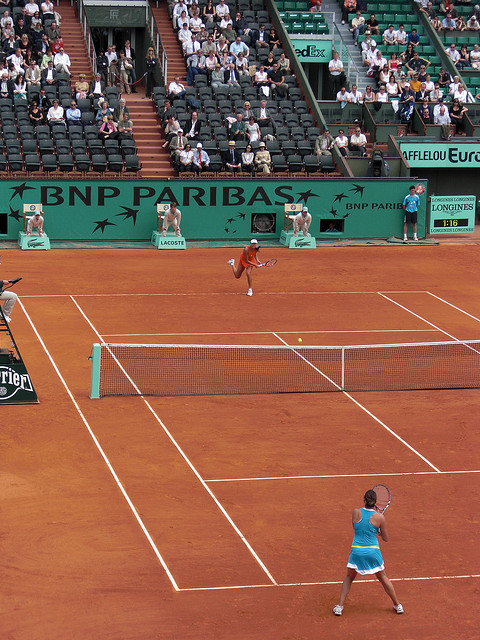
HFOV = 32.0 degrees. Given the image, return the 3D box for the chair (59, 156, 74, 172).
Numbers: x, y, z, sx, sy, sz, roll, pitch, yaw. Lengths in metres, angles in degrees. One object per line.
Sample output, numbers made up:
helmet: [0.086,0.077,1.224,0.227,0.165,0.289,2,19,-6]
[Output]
chair: [-5.842,-5.278,28.369,0.434,0.499,0.317,0,14,-12]

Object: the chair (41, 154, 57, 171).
chair: [-6.397,-5.302,28.388,0.474,0.525,0.437,0,14,-12]

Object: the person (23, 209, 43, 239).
person: [-6.576,-3.062,26.874,0.568,0.911,0.706,-1,14,-14]

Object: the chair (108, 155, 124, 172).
chair: [-4.278,-5.437,29.009,0.500,0.601,0.548,0,5,-11]

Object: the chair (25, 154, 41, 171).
chair: [-6.964,-5.295,28.303,0.581,0.497,0.630,1,-2,-12]

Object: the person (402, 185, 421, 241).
person: [6.140,-3.828,30.072,0.654,1.951,1.115,5,14,10]

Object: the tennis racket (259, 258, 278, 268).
tennis racket: [0.844,-1.661,24.864,0.754,0.282,0.039,-22,43,-29]

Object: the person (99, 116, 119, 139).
person: [-4.627,-6.851,29.931,0.684,0.801,0.452,0,14,-10]

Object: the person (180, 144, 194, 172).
person: [-1.836,-5.681,29.538,0.485,0.960,0.340,1,14,-6]

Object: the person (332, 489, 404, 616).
person: [1.134,1.918,7.076,0.594,1.124,0.604,5,14,8]

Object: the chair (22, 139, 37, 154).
chair: [-7.193,-5.929,29.016,0.561,0.550,0.514,0,2,-16]

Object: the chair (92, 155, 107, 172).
chair: [-4.781,-5.416,29.240,0.591,0.505,0.614,2,-1,-11]

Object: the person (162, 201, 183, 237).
person: [-2.191,-3.292,27.535,0.862,1.003,1.401,-2,-33,-8]

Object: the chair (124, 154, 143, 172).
chair: [-3.671,-5.511,29.367,0.662,0.579,0.520,0,-1,-16]

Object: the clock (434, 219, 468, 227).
clock: [7.656,-3.486,30.316,1.234,0.307,0.217,-1,14,-16]

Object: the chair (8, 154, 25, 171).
chair: [-7.451,-5.318,28.358,0.498,0.620,0.564,-1,5,-14]

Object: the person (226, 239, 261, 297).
person: [0.169,-1.561,22.082,0.470,1.446,1.510,-8,32,-30]

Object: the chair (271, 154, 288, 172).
chair: [1.431,-5.721,30.602,0.561,0.659,0.604,-1,13,-13]

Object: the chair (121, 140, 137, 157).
chair: [-3.966,-6.113,29.921,0.715,0.664,0.659,-2,18,-19]

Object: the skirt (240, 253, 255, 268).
skirt: [0.226,-1.502,21.904,0.329,0.280,0.355,8,45,-14]

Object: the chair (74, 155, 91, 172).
chair: [-5.298,-5.321,28.475,0.503,0.612,0.569,0,14,-10]

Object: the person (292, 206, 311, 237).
person: [2.123,-3.298,28.447,0.550,1.035,0.741,3,13,3]

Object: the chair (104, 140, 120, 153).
chair: [-4.457,-6.146,29.674,0.552,0.547,0.480,-1,7,-17]
